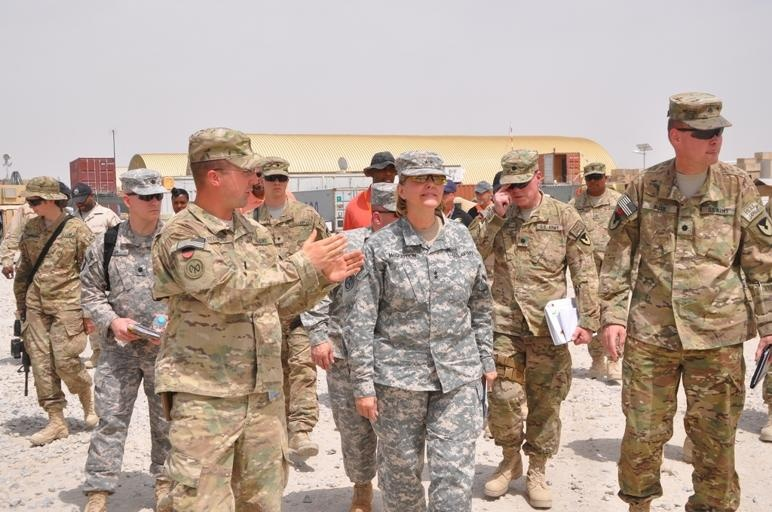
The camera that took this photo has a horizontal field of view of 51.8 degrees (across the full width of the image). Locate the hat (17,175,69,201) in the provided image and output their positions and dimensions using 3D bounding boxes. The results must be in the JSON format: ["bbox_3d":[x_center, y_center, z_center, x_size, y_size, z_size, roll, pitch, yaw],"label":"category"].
[{"bbox_3d":[-4.172,-0.826,9.704,0.490,0.283,0.380,-2,5,-25],"label":"hat"}]

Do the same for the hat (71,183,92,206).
[{"bbox_3d":[-4.829,-1.004,12.594,0.265,0.218,0.373,-6,8,2],"label":"hat"}]

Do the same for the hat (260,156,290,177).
[{"bbox_3d":[-1.220,-1.000,8.780,0.417,0.167,0.557,0,4,-9],"label":"hat"}]

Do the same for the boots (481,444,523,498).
[{"bbox_3d":[1.209,2.191,8.150,0.204,0.360,0.632,6,16,38],"label":"boots"}]

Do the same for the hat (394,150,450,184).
[{"bbox_3d":[0.295,-0.762,6.620,0.422,0.239,0.275,0,5,1],"label":"hat"}]

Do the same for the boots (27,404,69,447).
[{"bbox_3d":[-4.109,2.074,9.628,0.197,0.391,0.445,-1,4,44],"label":"boots"}]

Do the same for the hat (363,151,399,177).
[{"bbox_3d":[-0.044,-1.168,10.007,0.397,0.242,0.500,-5,-4,26],"label":"hat"}]

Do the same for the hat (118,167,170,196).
[{"bbox_3d":[-2.465,-0.735,7.867,0.366,0.173,0.286,2,6,36],"label":"hat"}]

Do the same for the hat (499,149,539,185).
[{"bbox_3d":[1.360,-0.906,8.089,0.371,0.362,0.334,1,5,8],"label":"hat"}]

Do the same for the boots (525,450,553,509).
[{"bbox_3d":[1.533,2.242,7.921,0.256,0.502,0.308,1,5,9],"label":"boots"}]
